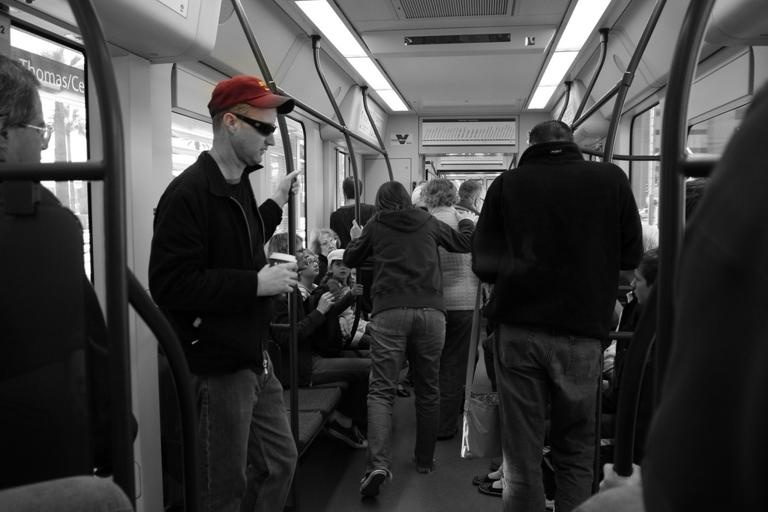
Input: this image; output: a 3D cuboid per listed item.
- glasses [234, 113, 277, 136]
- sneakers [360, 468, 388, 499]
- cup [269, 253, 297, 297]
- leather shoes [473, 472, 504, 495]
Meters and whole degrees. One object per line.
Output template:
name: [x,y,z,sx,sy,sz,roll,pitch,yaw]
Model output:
glasses: [-0.554,-0.572,2.776,0.108,0.031,0.102,26,3,-13]
sneakers: [-0.067,1.390,3.985,0.122,0.249,0.107,7,31,-19]
cup: [-0.462,0.054,2.833,0.171,0.160,0.110,-2,8,-16]
leather shoes: [0.668,1.477,4.145,0.190,0.061,0.146,0,4,7]
